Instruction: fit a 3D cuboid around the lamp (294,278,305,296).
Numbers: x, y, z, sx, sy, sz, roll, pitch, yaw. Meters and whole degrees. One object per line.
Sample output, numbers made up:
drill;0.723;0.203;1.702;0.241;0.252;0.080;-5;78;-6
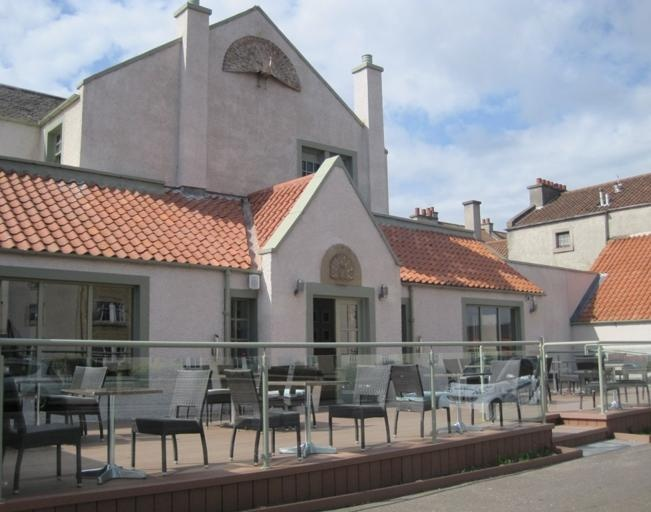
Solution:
lamp;-0.582;0.697;17.147;0.278;0.379;0.153;5;6;-26

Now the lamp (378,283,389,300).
lamp;1.461;0.874;18.830;0.168;0.380;0.340;10;6;33
